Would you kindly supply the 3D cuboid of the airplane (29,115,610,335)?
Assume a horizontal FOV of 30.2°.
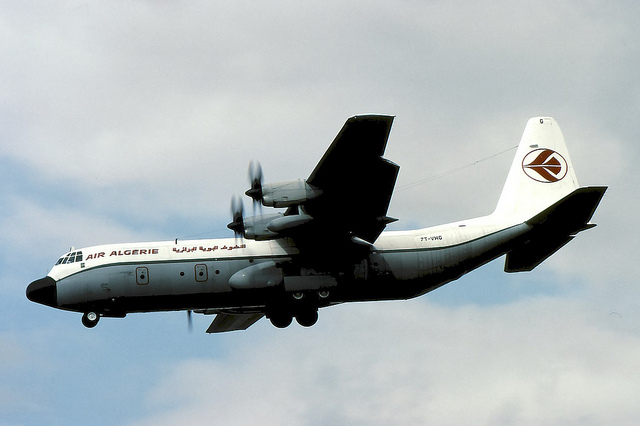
[{"bbox_3d":[-0.645,1.398,47.375,16.715,6.705,10.800,-7,-6,24],"label":"airplane"}]
